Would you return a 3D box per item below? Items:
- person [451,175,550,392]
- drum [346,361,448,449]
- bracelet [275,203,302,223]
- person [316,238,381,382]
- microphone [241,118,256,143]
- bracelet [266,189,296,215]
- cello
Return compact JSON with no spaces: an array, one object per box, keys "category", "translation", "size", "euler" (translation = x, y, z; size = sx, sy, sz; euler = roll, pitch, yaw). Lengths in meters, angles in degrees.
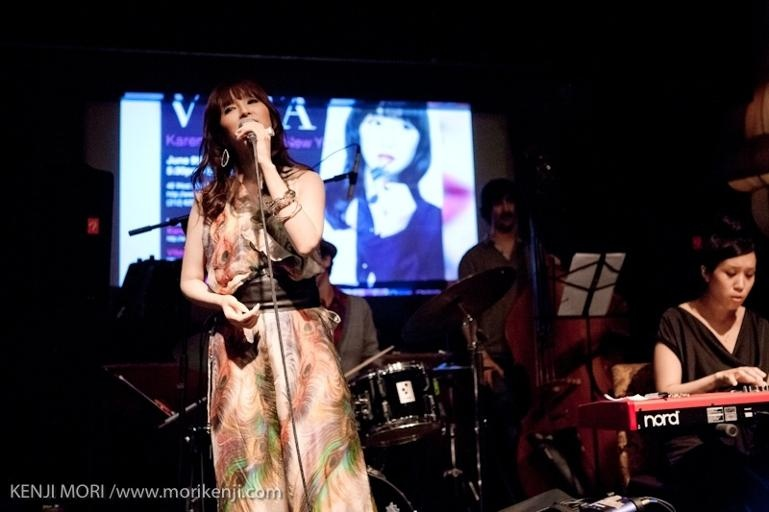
[{"category":"person","translation":[0.807,0.173,4.639],"size":[0.568,1.353,0.341],"euler":[-1,-4,-1]},{"category":"drum","translation":[0.041,0.966,4.104],"size":[0.519,0.388,0.507],"euler":[-15,-17,-5]},{"category":"bracelet","translation":[-0.416,-0.189,2.960],"size":[0.096,0.037,0.092],"euler":[-30,-4,18]},{"category":"person","translation":[-0.258,0.342,4.712],"size":[0.578,0.804,0.194],"euler":[-4,-9,-27]},{"category":"microphone","translation":[-0.597,-0.551,3.033],"size":[0.079,0.114,0.035],"euler":[-10,-3,12]},{"category":"bracelet","translation":[-0.459,-0.223,3.003],"size":[0.121,0.050,0.102],"euler":[-23,-5,25]},{"category":"cello","translation":[1.254,0.419,4.559],"size":[0.865,2.329,0.498],"euler":[-5,-4,9]}]
